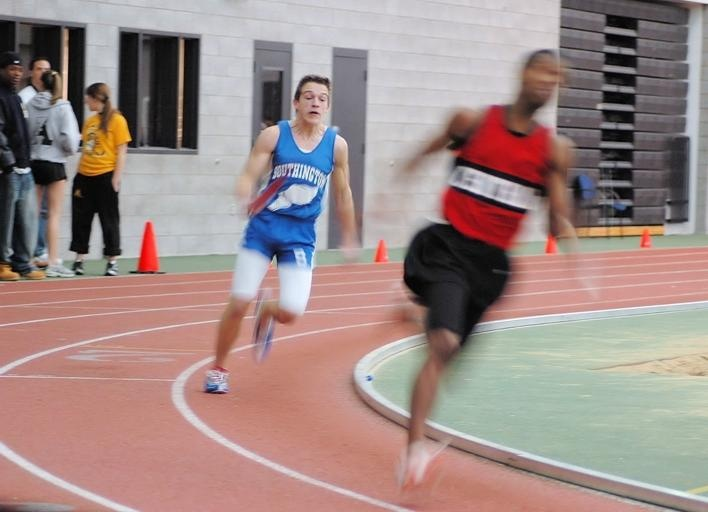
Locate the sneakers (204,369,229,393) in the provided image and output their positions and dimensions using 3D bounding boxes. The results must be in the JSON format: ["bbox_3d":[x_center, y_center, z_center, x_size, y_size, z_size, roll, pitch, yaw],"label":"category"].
[{"bbox_3d":[-0.984,0.905,5.187,0.105,0.099,0.261,3,5,-9],"label":"sneakers"}]

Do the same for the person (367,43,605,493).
[{"bbox_3d":[0.656,0.057,3.733,0.886,2.168,0.449,2,5,-13],"label":"person"}]

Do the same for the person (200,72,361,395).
[{"bbox_3d":[-0.486,-0.107,5.043,0.986,2.271,0.539,2,5,-11],"label":"person"}]

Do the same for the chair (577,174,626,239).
[{"bbox_3d":[6.464,-1.249,18.989,1.366,1.866,0.706,4,-6,-8],"label":"chair"}]

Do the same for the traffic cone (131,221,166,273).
[{"bbox_3d":[-3.263,-0.167,11.524,0.370,0.766,1.394,2,4,-16],"label":"traffic cone"}]
